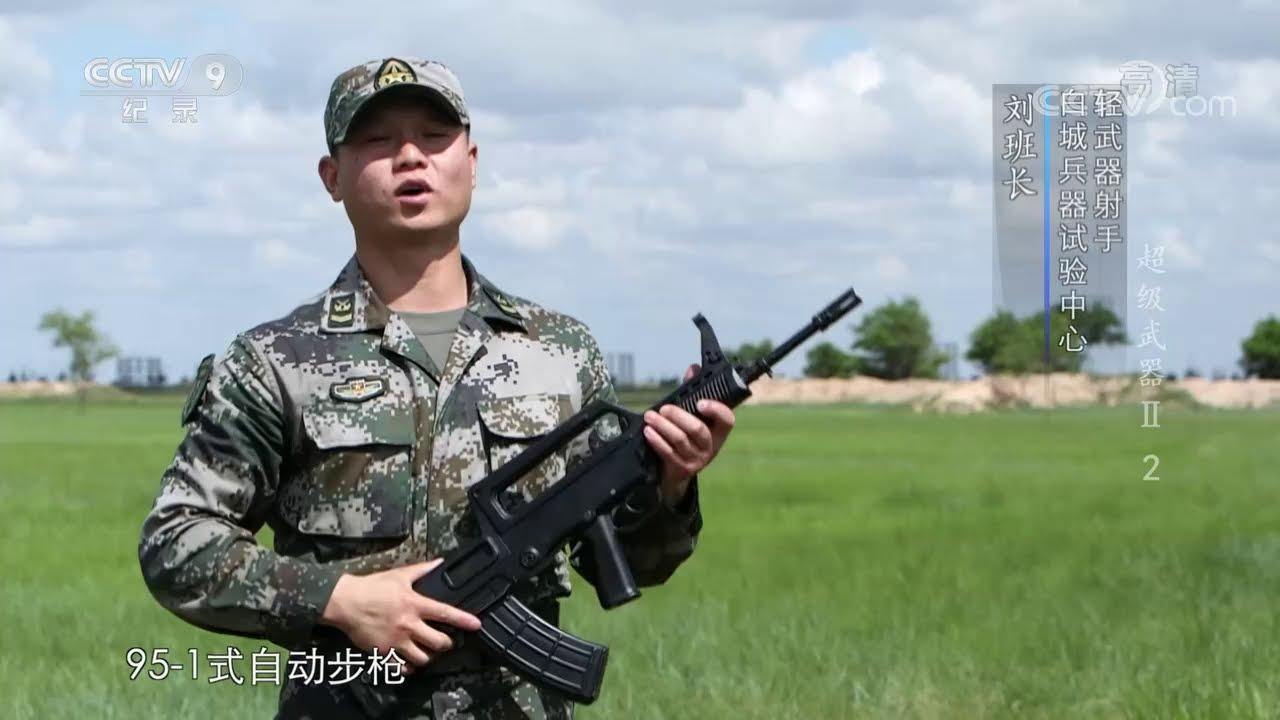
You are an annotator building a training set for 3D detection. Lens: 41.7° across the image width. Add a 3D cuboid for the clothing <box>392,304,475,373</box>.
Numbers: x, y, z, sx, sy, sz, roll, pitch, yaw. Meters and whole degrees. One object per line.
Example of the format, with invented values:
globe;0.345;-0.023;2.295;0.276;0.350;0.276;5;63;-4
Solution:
clothing;-1.349;-0.125;10.840;0.433;0.433;0.088;-1;-26;-8
